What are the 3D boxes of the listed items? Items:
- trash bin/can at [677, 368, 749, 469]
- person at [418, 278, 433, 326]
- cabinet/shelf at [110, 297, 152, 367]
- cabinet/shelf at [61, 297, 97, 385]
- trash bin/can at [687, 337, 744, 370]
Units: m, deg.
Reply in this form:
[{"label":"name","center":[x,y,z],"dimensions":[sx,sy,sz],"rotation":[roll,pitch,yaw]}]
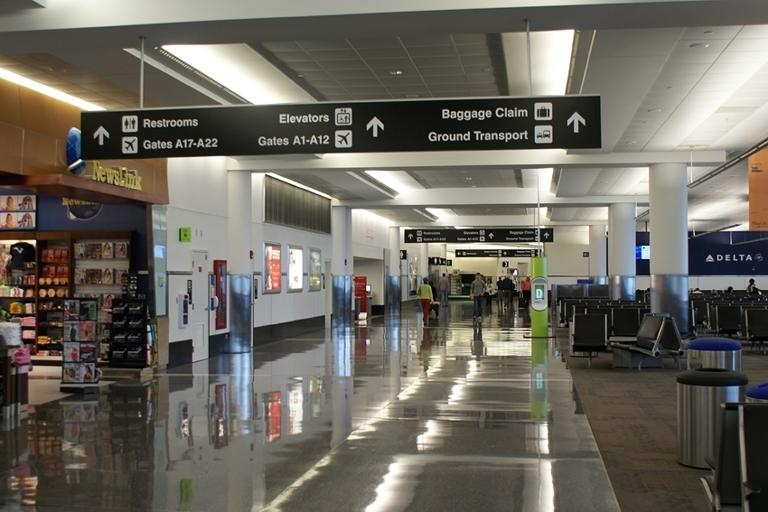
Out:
[{"label":"trash bin/can","center":[3.711,1.828,6.606],"dimensions":[0.760,1.068,0.726],"rotation":[-2,-19,29]},{"label":"person","center":[1.607,1.757,23.177],"dimensions":[0.445,1.777,1.266],"rotation":[-1,0,4]},{"label":"cabinet/shelf","center":[-5.167,1.544,12.461],"dimensions":[0.788,1.335,0.732],"rotation":[-4,-5,13]},{"label":"cabinet/shelf","center":[-5.497,1.566,10.778],"dimensions":[0.660,1.609,0.444],"rotation":[0,0,-12]},{"label":"trash bin/can","center":[4.296,1.276,7.737],"dimensions":[0.671,0.530,0.649],"rotation":[3,-3,-39]}]
